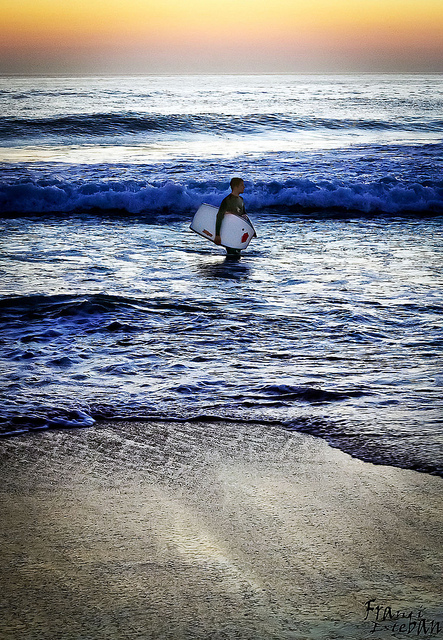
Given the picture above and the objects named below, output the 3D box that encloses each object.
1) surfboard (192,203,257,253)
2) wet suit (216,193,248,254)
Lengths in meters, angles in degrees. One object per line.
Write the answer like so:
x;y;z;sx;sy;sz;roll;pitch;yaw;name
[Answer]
0.007;-1.250;10.568;0.239;0.424;0.977;-3;24;-39;surfboard
0.114;-1.249;10.444;0.349;0.777;0.528;2;14;2;wet suit
